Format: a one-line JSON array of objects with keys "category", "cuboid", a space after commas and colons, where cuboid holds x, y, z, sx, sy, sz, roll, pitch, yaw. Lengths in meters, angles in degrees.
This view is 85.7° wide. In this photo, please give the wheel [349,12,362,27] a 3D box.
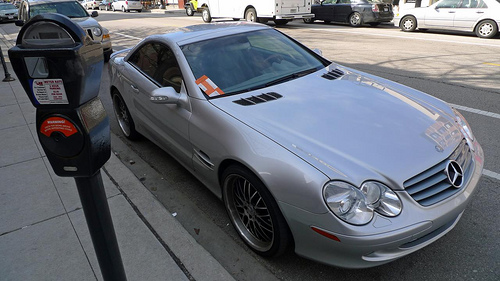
[{"category": "wheel", "cuboid": [6.063, -6.973, 15.466, 0.281, 0.718, 0.768, -13, 19, -32]}]

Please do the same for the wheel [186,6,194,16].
[{"category": "wheel", "cuboid": [-5.612, -12.098, 25.061, 0.366, 1.008, 1.081, -16, 35, -35]}]

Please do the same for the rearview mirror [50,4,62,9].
[{"category": "rearview mirror", "cuboid": [-7.132, -4.875, 9.809, 0.418, 0.152, 0.289, 21, 31, 34]}]

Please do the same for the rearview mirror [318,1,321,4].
[{"category": "rearview mirror", "cuboid": [4.317, -8.527, 16.654, 0.059, 0.210, 0.236, -8, 16, -36]}]

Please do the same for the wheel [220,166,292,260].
[{"category": "wheel", "cuboid": [0.088, 0.834, 3.073, 0.239, 0.838, 0.903, -24, -10, -43]}]

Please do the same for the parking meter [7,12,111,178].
[{"category": "parking meter", "cuboid": [-1.314, -0.256, 1.961, 0.565, 1.210, 0.511, -13, 29, -28]}]

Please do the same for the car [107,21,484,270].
[{"category": "car", "cuboid": [-0.073, -0.877, 4.969, 3.397, 1.764, 6.886, -27, 39, -37]}]

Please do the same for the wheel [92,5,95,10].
[{"category": "wheel", "cuboid": [-26.249, -22.082, 44.769, 0.610, 0.571, 0.198, 13, 48, 36]}]

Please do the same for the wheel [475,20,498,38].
[{"category": "wheel", "cuboid": [10.348, -4.888, 11.740, 0.310, 0.785, 0.830, -12, 8, -22]}]

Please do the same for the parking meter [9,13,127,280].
[{"category": "parking meter", "cuboid": [-1.280, -0.041, 2.040, 0.746, 1.769, 0.694, -1, -5, 15]}]

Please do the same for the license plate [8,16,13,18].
[{"category": "license plate", "cuboid": [-24.268, -12.503, 27.198, 0.212, 0.265, 0.302, -4, 16, -25]}]

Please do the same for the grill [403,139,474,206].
[{"category": "grill", "cuboid": [2.129, 0.373, 2.907, 1.233, 0.393, 0.293, -14, 30, -30]}]

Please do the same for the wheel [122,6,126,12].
[{"category": "wheel", "cuboid": [-16.834, -17.498, 35.859, 0.325, 0.649, 1.052, -15, 30, -31]}]

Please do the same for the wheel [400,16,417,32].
[{"category": "wheel", "cuboid": [7.996, -5.906, 13.563, 0.305, 0.776, 0.829, -11, 15, -32]}]

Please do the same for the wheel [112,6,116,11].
[{"category": "wheel", "cuboid": [-19.339, -18.699, 38.074, 0.462, 0.606, 2.000, -23, 26, -16]}]
